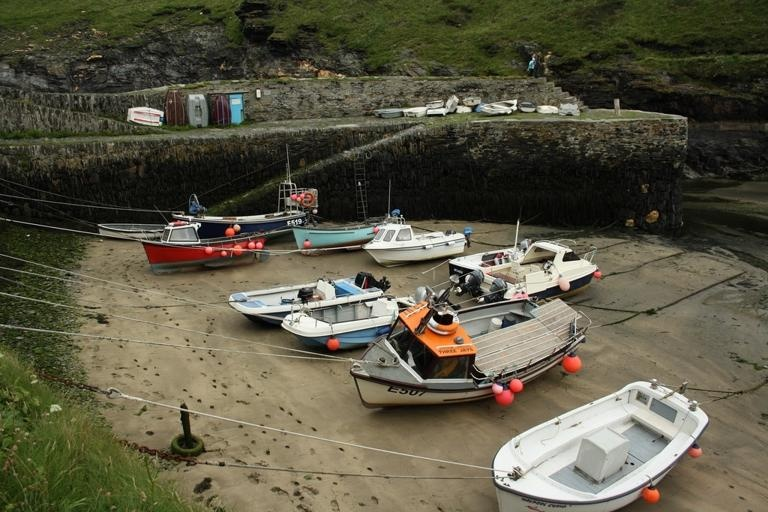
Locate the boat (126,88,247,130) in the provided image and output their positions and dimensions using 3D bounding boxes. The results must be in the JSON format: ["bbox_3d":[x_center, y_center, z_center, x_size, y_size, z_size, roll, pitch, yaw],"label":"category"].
[{"bbox_3d":[-9.378,-6.892,29.701,6.175,1.187,1.775,-4,13,-22],"label":"boat"}]
